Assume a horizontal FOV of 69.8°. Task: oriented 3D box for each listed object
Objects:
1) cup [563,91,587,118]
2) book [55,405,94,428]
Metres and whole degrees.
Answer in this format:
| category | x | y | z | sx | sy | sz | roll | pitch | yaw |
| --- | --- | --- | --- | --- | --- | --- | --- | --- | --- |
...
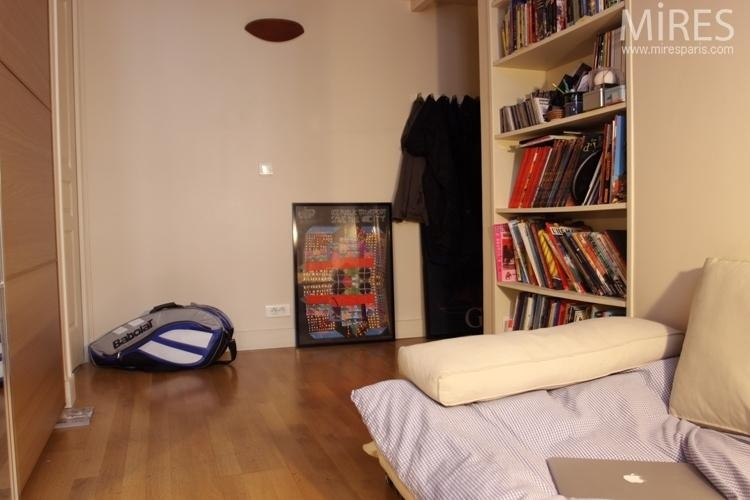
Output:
| category | x | y | z | sx | sy | sz | roll | pitch | yaw |
| --- | --- | --- | --- | --- | --- | --- | --- | --- | --- |
| cup | 1.179 | -0.863 | 3.198 | 0.129 | 0.131 | 0.133 | -1 | 1 | 0 |
| book | -1.807 | 1.003 | 3.235 | 0.180 | 0.046 | 0.219 | -4 | 9 | -20 |
